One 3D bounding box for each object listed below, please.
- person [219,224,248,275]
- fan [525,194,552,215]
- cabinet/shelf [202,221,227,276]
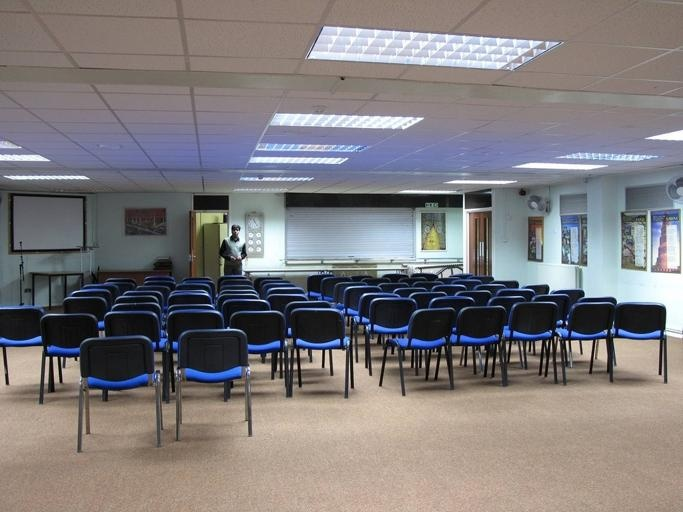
[{"bbox_3d":[-2.694,-0.144,12.586,0.578,1.225,1.061,-1,4,-12],"label":"person"},{"bbox_3d":[5.367,-1.410,13.902,0.447,0.579,0.583,-8,-1,44],"label":"fan"},{"bbox_3d":[-3.815,0.047,15.609,0.885,2.624,0.707,0,41,-15],"label":"cabinet/shelf"}]
